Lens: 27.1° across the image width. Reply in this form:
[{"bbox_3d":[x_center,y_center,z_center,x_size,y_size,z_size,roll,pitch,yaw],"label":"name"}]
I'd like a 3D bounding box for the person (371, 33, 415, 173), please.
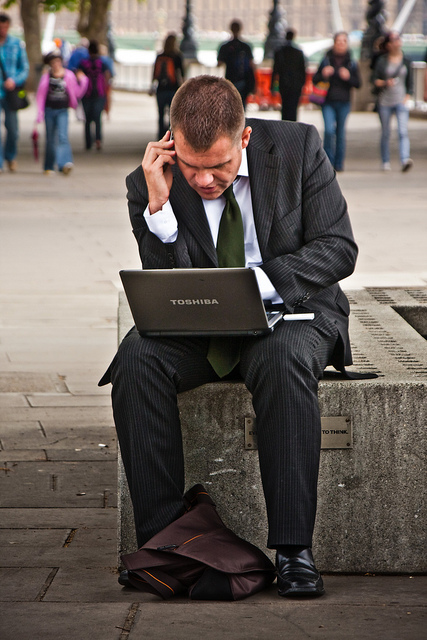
[{"bbox_3d":[2.655,-3.238,13.213,0.569,1.987,1.232,0,4,12],"label":"person"}]

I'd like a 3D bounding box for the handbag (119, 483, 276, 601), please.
[{"bbox_3d":[-0.030,0.575,2.263,0.286,0.107,0.262,4,17,-6],"label":"handbag"}]

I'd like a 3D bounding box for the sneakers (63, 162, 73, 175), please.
[{"bbox_3d":[-2.177,-2.245,13.214,0.148,0.171,0.166,9,12,-6],"label":"sneakers"}]

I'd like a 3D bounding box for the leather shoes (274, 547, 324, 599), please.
[{"bbox_3d":[0.216,0.633,2.232,0.109,0.109,0.081,0,4,3],"label":"leather shoes"}]

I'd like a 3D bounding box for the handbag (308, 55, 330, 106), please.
[{"bbox_3d":[1.566,-3.475,13.216,0.364,0.568,0.228,22,24,30],"label":"handbag"}]

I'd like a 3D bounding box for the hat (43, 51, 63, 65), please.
[{"bbox_3d":[-2.288,-3.719,12.641,0.215,0.117,0.188,-43,40,-20],"label":"hat"}]
